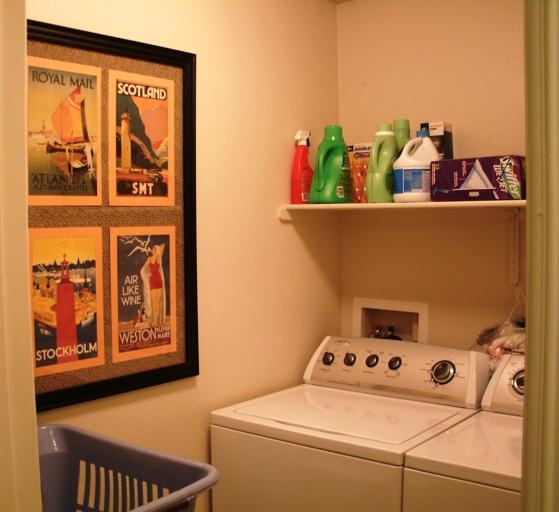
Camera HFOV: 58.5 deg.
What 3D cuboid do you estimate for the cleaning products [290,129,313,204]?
[{"bbox_3d":[0.095,-0.376,2.138,0.095,0.303,0.072,-4,4,-36],"label":"cleaning products"}]
